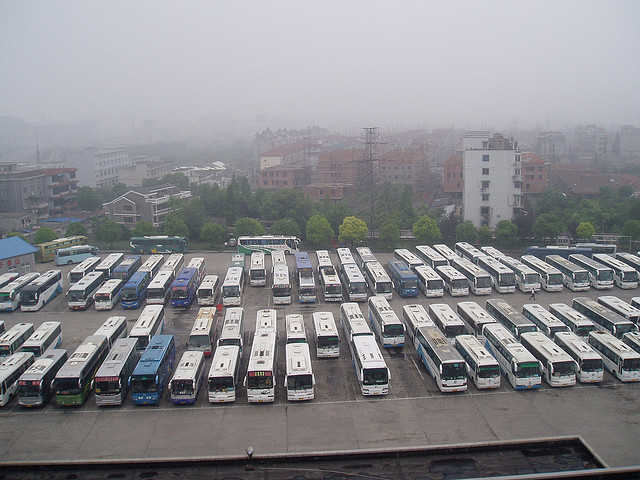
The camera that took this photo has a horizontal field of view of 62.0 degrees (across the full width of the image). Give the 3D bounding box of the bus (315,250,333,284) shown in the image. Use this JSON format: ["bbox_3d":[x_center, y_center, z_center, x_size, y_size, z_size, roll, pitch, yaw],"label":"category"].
[{"bbox_3d":[0.161,1.378,26.839,0.854,1.070,3.851,-1,9,-1],"label":"bus"}]

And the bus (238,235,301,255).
[{"bbox_3d":[-3.062,0.128,32.485,3.853,1.244,1.338,-1,15,-1],"label":"bus"}]

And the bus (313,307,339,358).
[{"bbox_3d":[0.218,3.466,18.848,0.812,1.103,1.228,-5,15,-3],"label":"bus"}]

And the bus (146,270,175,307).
[{"bbox_3d":[-7.159,2.259,23.817,0.705,1.061,1.702,-4,15,0],"label":"bus"}]

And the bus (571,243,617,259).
[{"bbox_3d":[16.091,0.448,30.828,1.732,0.495,1.282,2,6,23],"label":"bus"}]

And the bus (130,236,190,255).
[{"bbox_3d":[-9.964,0.201,33.893,4.114,1.284,1.421,-1,16,-1],"label":"bus"}]

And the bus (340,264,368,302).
[{"bbox_3d":[1.572,2.006,24.510,1.010,0.985,3.638,-2,8,-2],"label":"bus"}]
